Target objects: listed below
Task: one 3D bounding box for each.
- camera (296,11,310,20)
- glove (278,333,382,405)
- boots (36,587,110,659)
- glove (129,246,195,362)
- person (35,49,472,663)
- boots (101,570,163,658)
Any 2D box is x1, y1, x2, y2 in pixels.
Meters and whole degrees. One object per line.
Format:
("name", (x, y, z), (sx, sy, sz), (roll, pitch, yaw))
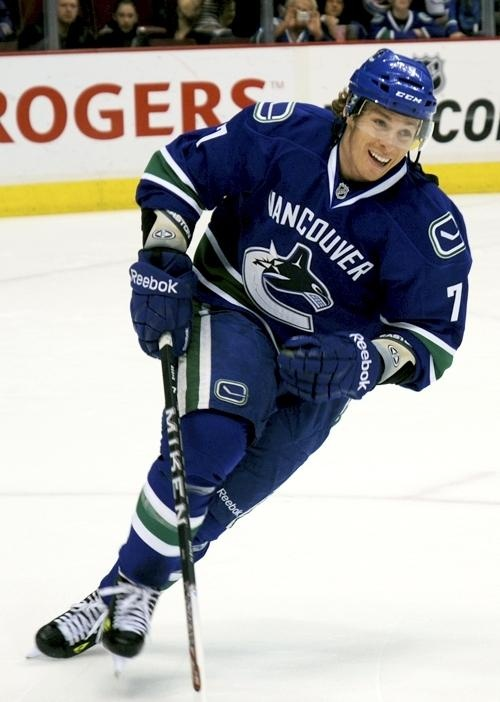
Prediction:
("camera", (0.385, -2.423, 5.747), (0.119, 0.069, 0.059), (0, -3, 2))
("glove", (0.157, 0.019, 1.462), (0.177, 0.093, 0.252), (8, 17, 29))
("boots", (-0.324, 0.509, 1.487), (0.055, 0.060, 0.159), (41, 20, 12))
("glove", (-0.159, -0.090, 1.502), (0.136, 0.194, 0.080), (-2, -2, 16))
("person", (0.063, -0.058, 1.542), (0.578, 1.013, 0.468), (-3, 20, -16))
("boots", (-0.218, 0.469, 1.438), (0.060, 0.068, 0.183), (23, 13, -19))
